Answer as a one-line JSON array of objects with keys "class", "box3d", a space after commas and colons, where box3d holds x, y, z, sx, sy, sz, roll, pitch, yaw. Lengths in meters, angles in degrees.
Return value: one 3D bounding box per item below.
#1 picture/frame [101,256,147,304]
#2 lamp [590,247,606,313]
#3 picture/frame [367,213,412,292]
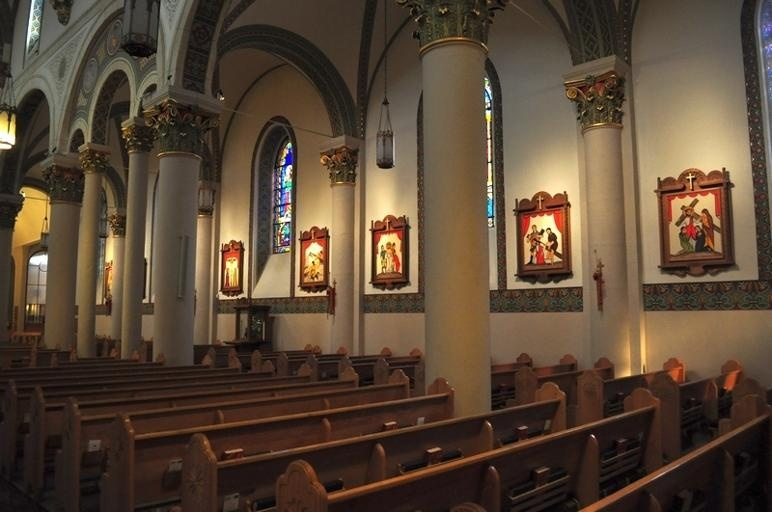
[{"class": "picture/frame", "box3d": [-9.297, 0.874, 21.578, 1.522, 1.446, 0.109, -1, -4, 20]}, {"class": "lamp", "box3d": [4.159, 0.472, 11.649, 0.244, 1.271, 0.204, -4, -6, 13]}, {"class": "picture/frame", "box3d": [0.126, -0.095, 15.643, 0.276, 1.930, 1.223, 3, -8, -43]}]
